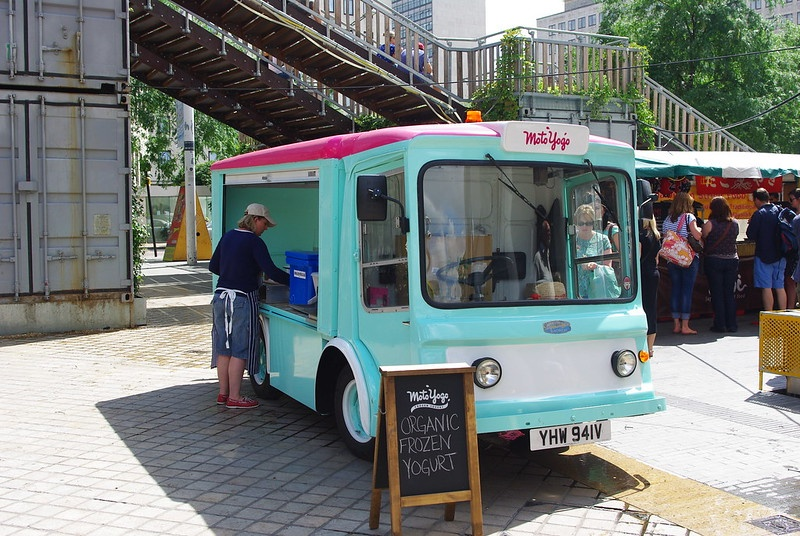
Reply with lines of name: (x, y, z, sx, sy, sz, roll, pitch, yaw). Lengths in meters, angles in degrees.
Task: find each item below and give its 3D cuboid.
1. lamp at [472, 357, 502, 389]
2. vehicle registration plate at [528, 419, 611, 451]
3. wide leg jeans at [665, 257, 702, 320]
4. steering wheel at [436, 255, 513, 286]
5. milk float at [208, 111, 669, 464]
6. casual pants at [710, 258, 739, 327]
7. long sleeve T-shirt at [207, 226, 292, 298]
lamp: (0.792, 0.964, 6.522, 0.264, 0.278, 0.092, -2, 3, -28)
vehicle registration plate: (1.612, 1.556, 6.641, 0.848, 0.190, 0.076, -3, 9, -15)
wide leg jeans: (4.989, 0.341, 12.497, 0.403, 1.312, 0.465, -9, 10, -36)
steering wheel: (0.742, 0.016, 6.751, 0.829, 0.291, 0.096, -4, 10, -19)
milk float: (0.014, 0.198, 9.190, 3.231, 3.532, 5.971, -4, 3, -27)
casual pants: (5.803, 0.402, 12.700, 0.554, 1.423, 0.462, -3, 5, 6)
long sleeve T-shirt: (-1.797, -0.079, 8.848, 1.399, 1.124, 0.536, -1, 0, 15)
